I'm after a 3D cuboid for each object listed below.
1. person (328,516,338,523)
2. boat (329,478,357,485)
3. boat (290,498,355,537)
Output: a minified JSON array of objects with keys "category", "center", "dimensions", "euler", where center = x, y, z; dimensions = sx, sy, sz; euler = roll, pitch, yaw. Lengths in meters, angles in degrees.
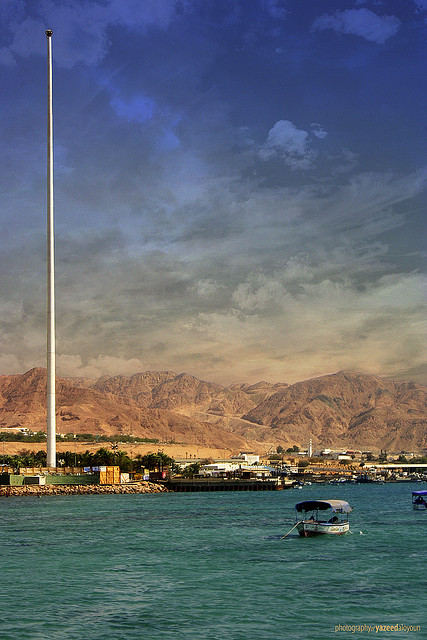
[{"category":"person","center":[11.077,18.606,86.137],"dimensions":[0.405,0.653,1.065],"euler":[-8,-12,-27]},{"category":"boat","center":[38.436,48.175,276.239],"dimensions":[3.991,1.906,5.305],"euler":[2,-4,-3]},{"category":"boat","center":[10.134,18.461,86.175],"dimensions":[3.612,3.227,7.744],"euler":[-5,-11,27]}]
